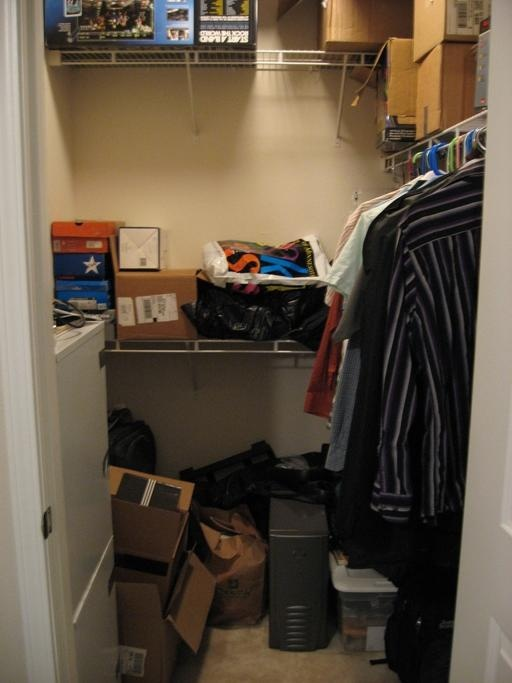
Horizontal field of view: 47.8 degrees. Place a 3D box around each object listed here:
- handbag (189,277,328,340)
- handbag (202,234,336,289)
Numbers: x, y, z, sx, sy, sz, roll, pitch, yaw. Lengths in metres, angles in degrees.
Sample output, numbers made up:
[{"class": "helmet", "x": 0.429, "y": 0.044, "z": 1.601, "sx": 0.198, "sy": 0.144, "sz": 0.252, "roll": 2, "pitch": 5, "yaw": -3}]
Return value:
[{"class": "handbag", "x": -0.002, "y": -0.120, "z": 2.352, "sx": 0.373, "sy": 0.145, "sz": 0.320, "roll": -1, "pitch": 12, "yaw": 3}, {"class": "handbag", "x": 0.043, "y": -0.328, "z": 2.401, "sx": 0.531, "sy": 0.182, "sz": 0.306, "roll": -5, "pitch": 15, "yaw": -6}]
